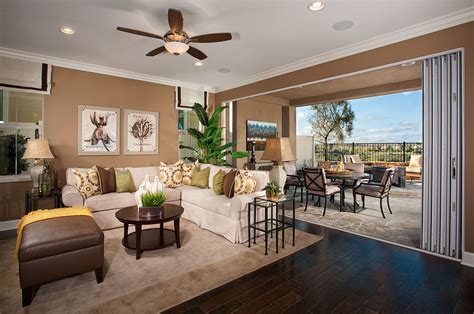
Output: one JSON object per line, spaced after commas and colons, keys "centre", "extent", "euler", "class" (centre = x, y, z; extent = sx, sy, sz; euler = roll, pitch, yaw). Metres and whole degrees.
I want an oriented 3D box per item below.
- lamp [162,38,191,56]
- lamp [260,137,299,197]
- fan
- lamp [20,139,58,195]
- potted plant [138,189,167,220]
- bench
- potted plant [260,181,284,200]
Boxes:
{"centre": [-0.912, -1.666, 4.225], "extent": [0.256, 0.095, 0.259], "euler": [-3, -4, 44], "class": "lamp"}
{"centre": [0.824, 0.186, 5.726], "extent": [0.850, 1.146, 0.804], "euler": [0, 1, -7], "class": "lamp"}
{"centre": [-0.863, -1.931, 4.292], "extent": [1.524, 0.590, 1.107], "euler": [-2, 3, 12], "class": "fan"}
{"centre": [-3.773, 0.191, 5.223], "extent": [0.588, 1.002, 0.548], "euler": [-3, -5, -18], "class": "lamp"}
{"centre": [-1.360, 0.739, 4.403], "extent": [0.462, 0.438, 0.387], "euler": [1, -1, -25], "class": "potted plant"}
{"centre": [-2.525, 1.334, 3.913], "extent": [0.990, 1.002, 1.018], "euler": [-5, 4, -34], "class": "bench"}
{"centre": [0.612, 0.553, 4.632], "extent": [0.306, 0.209, 0.299], "euler": [-1, 3, -33], "class": "potted plant"}
